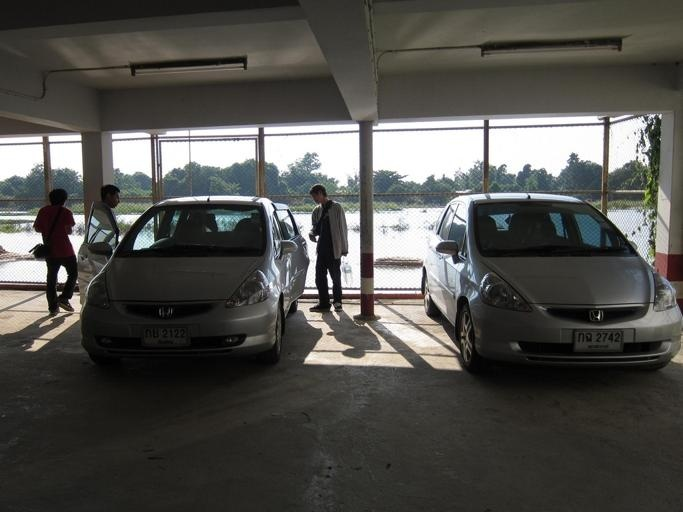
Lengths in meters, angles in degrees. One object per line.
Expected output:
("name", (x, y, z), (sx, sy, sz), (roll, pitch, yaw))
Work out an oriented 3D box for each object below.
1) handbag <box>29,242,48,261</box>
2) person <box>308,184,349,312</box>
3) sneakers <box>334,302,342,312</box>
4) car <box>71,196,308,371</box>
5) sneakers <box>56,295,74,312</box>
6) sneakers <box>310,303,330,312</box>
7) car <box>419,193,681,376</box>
("handbag", (-4.675, -0.088, 7.607), (0.205, 0.195, 0.122), (-6, 9, -35))
("person", (-0.223, -0.126, 8.249), (0.694, 2.120, 0.490), (2, 7, 16))
("sneakers", (-0.059, 0.882, 8.435), (0.113, 0.136, 0.144), (0, -4, -2))
("car", (-1.613, 0.255, 5.665), (1.957, 1.816, 2.192), (1, 8, 7))
("sneakers", (-4.581, 0.787, 8.112), (0.106, 0.143, 0.299), (-20, -40, 14))
("sneakers", (-0.372, 0.876, 8.378), (0.334, 0.158, 0.129), (4, -1, -2))
("car", (2.089, 0.158, 5.852), (1.598, 1.302, 2.800), (0, 1, 3))
